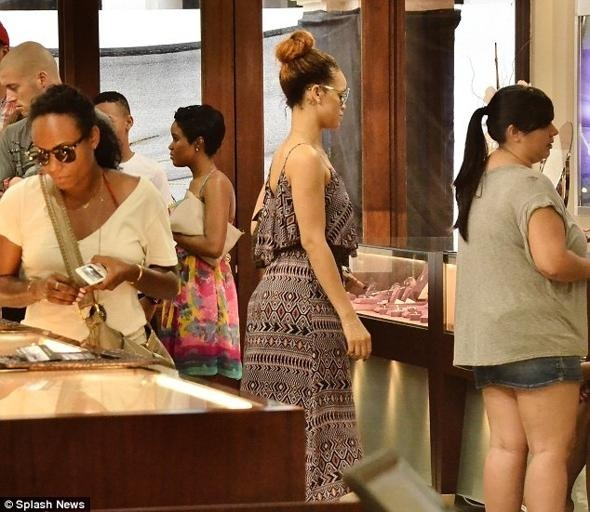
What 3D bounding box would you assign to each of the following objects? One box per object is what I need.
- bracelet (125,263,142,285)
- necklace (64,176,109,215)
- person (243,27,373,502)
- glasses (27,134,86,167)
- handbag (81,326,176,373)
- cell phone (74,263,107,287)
[{"bbox_3d":[-0.536,0.062,2.345,0.021,0.064,0.043,12,14,41],"label":"bracelet"},{"bbox_3d":[-0.671,-0.200,2.386,0.081,0.129,0.042,-9,2,-13],"label":"necklace"},{"bbox_3d":[0.043,0.000,2.552,0.342,1.626,0.525,-3,6,-45],"label":"person"},{"bbox_3d":[-0.787,-0.343,2.294,0.179,0.098,0.071,4,5,14],"label":"glasses"},{"bbox_3d":[-0.488,0.265,2.024,0.129,0.174,0.227,-33,-26,31],"label":"handbag"},{"bbox_3d":[-0.634,0.061,2.193,0.059,0.008,0.075,49,26,13],"label":"cell phone"}]
